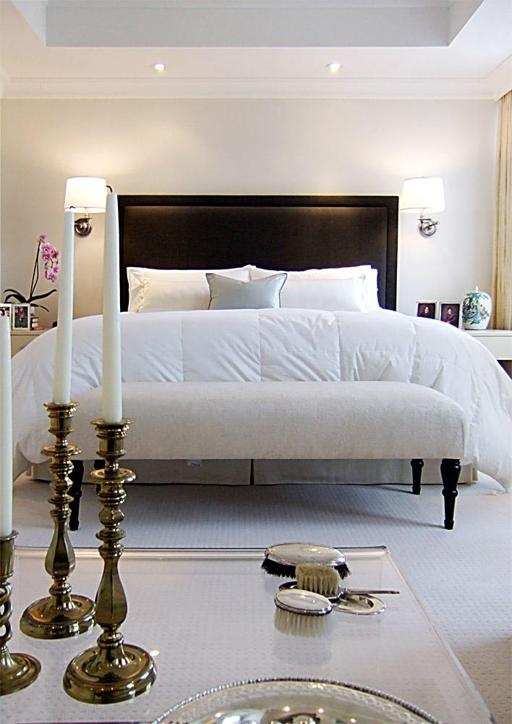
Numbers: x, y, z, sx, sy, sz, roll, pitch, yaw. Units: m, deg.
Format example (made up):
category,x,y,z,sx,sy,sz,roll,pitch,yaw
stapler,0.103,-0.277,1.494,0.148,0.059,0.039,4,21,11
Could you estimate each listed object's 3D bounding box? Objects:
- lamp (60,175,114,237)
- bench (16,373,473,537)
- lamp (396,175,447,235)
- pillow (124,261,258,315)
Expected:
category,x,y,z,sx,sy,sz,roll,pitch,yaw
lamp,-1.162,-1.034,4.383,0.290,0.374,0.288,-2,8,-27
bench,0.036,0.269,2.248,1.261,0.440,0.452,4,6,-4
lamp,1.144,-1.047,4.444,0.301,0.384,0.298,6,13,36
pillow,-0.392,-0.453,3.997,0.623,0.164,0.319,-3,46,1
